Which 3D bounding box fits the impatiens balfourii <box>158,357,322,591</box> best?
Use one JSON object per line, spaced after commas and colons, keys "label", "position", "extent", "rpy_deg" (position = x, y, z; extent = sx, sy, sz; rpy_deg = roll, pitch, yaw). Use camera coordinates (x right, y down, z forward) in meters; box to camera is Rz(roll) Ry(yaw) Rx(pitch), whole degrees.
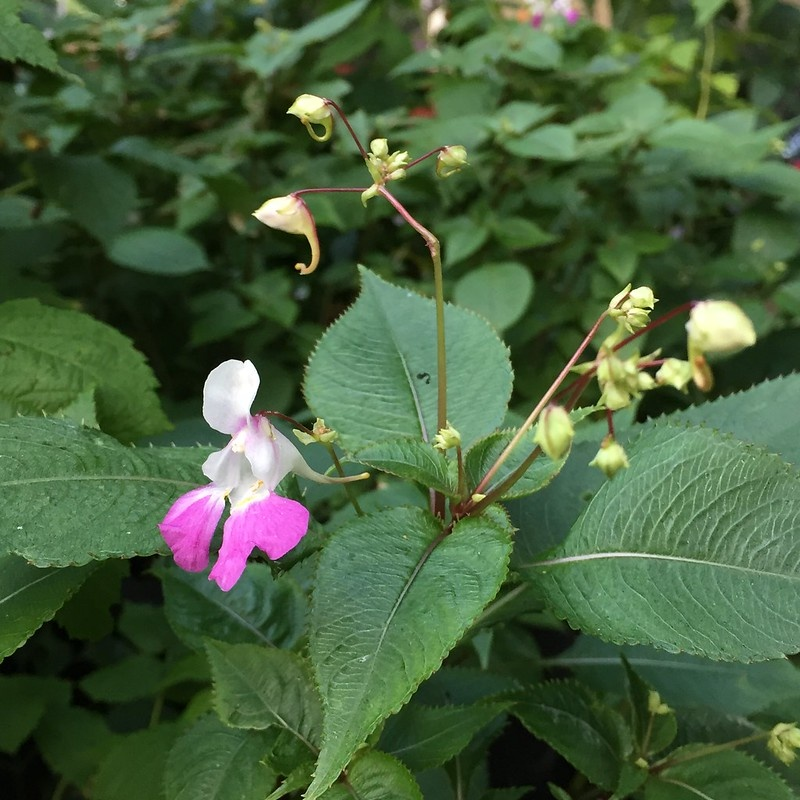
{"label": "impatiens balfourii", "position": [-0.232, 0.102, 1.347], "extent": [0.219, 0.297, 0.245], "rpy_deg": [5, 20, -4]}
